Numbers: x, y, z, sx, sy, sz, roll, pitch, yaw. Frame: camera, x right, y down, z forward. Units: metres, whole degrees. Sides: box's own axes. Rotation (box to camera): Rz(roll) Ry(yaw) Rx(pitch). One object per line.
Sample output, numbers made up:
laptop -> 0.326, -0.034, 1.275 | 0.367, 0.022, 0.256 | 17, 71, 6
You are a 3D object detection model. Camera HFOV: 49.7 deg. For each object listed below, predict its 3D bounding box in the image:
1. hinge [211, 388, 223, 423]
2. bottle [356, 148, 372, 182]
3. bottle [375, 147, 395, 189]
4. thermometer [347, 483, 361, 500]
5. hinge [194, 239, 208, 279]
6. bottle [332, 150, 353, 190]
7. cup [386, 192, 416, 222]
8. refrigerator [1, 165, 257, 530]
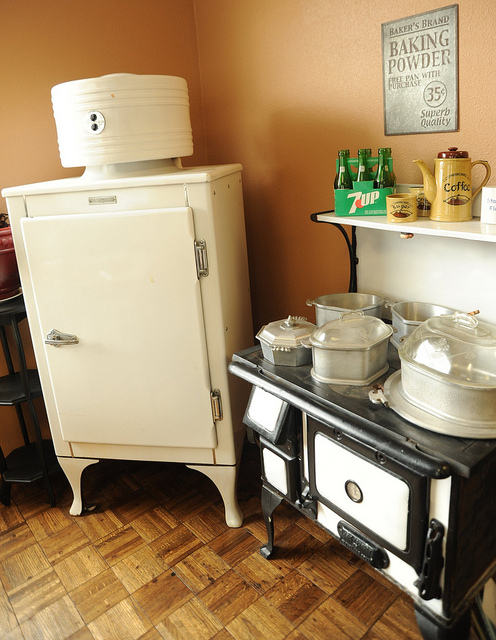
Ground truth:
hinge -> -0.106, 0.292, 1.812 | 0.035, 0.122, 0.018 | -6, 20, -3
bottle -> 0.337, -0.449, 1.554 | 0.045, 0.086, 0.050 | 2, 21, 17
bottle -> 0.392, -0.432, 1.528 | 0.054, 0.109, 0.109 | 0, 20, 13
thermometer -> 0.257, 0.417, 1.297 | 0.008, 0.037, 0.036 | -17, 65, -27
hinge -> -0.146, -0.187, 1.643 | 0.013, 0.106, 0.045 | 6, 16, 44
bottle -> 0.283, -0.444, 1.583 | 0.048, 0.107, 0.038 | -2, 20, 7
cup -> 0.402, -0.305, 1.438 | 0.077, 0.055, 0.074 | -3, 27, 2
refrigerator -> -0.412, 0.139, 1.927 | 0.775, 1.270, 0.343 | -2, 20, 6
